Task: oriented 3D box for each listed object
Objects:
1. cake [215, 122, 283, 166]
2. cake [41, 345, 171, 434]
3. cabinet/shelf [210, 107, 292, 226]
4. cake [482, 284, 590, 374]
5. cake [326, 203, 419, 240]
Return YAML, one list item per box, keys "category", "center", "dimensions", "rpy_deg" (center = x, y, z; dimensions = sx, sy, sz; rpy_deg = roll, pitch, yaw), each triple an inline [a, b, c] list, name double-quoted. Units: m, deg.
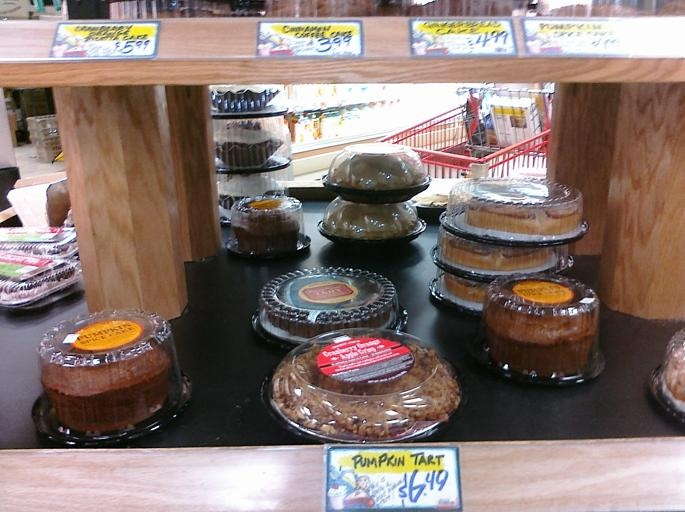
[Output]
- category: "cake"
  center: [-0.331, -0.378, 1.806]
  dimensions: [0.185, 0.091, 0.175]
  rpy_deg: [-1, 19, 0]
- category: "cake"
  center: [-0.410, 0.213, 0.919]
  dimensions: [0.171, 0.091, 0.167]
  rpy_deg: [5, 14, 35]
- category: "cabinet/shelf"
  center: [-0.316, -0.333, 1.843]
  dimensions: [0.394, 0.337, 0.377]
  rpy_deg: [-3, 16, -5]
- category: "cake"
  center: [0.380, 0.133, 1.069]
  dimensions: [0.199, 0.103, 0.178]
  rpy_deg: [-4, 19, -6]
- category: "cake"
  center: [0.073, -0.108, 1.603]
  dimensions: [0.175, 0.058, 0.164]
  rpy_deg: [5, 11, 32]
